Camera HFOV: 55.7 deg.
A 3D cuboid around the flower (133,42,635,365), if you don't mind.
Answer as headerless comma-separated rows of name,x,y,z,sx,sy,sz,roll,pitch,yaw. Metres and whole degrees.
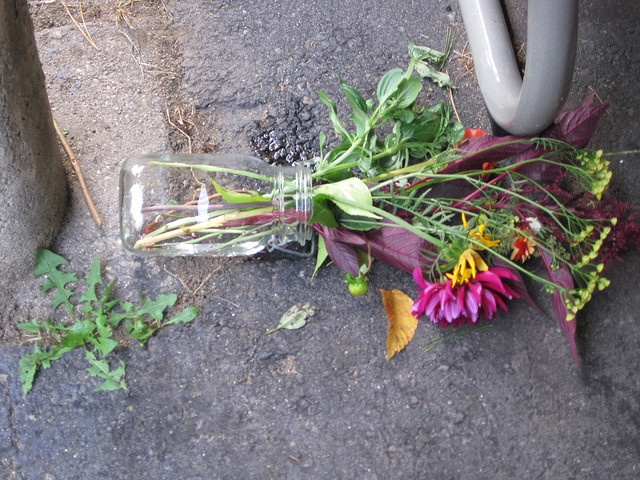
flower,0.137,-0.084,1.566,1.085,0.707,0.510,5,88,-5
